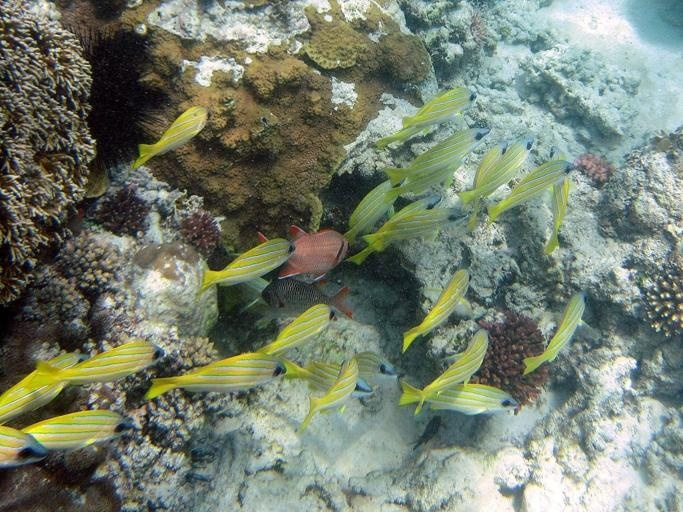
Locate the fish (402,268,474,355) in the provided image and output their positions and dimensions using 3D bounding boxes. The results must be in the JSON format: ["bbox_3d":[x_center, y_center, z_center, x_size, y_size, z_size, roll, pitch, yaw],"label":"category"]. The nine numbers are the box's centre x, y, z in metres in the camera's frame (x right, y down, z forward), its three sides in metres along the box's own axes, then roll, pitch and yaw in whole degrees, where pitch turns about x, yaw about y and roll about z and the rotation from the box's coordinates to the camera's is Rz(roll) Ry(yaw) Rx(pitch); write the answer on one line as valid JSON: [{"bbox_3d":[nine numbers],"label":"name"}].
[{"bbox_3d":[1.425,0.811,10.359,0.304,0.513,1.261,20,69,41],"label":"fish"}]
